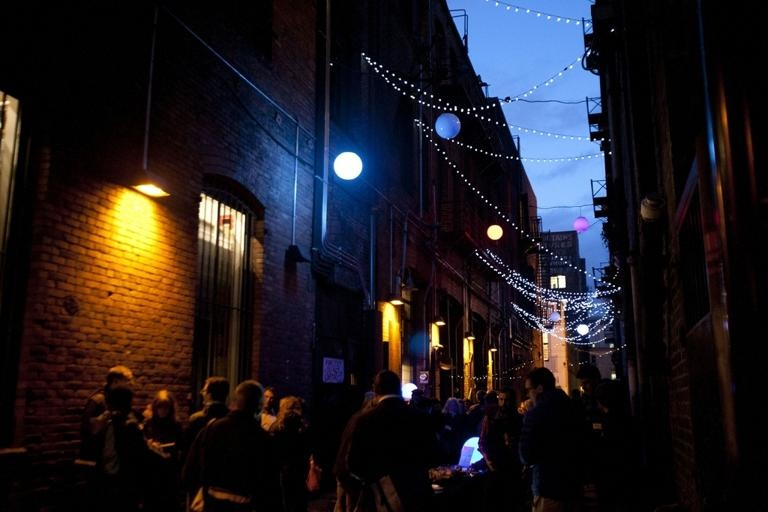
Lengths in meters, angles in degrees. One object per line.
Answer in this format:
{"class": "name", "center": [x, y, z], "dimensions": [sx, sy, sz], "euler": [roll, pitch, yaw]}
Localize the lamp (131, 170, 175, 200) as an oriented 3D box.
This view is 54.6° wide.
{"class": "lamp", "center": [-3.178, -0.943, 9.996], "dimensions": [0.255, 0.122, 0.508], "euler": [11, -22, 6]}
